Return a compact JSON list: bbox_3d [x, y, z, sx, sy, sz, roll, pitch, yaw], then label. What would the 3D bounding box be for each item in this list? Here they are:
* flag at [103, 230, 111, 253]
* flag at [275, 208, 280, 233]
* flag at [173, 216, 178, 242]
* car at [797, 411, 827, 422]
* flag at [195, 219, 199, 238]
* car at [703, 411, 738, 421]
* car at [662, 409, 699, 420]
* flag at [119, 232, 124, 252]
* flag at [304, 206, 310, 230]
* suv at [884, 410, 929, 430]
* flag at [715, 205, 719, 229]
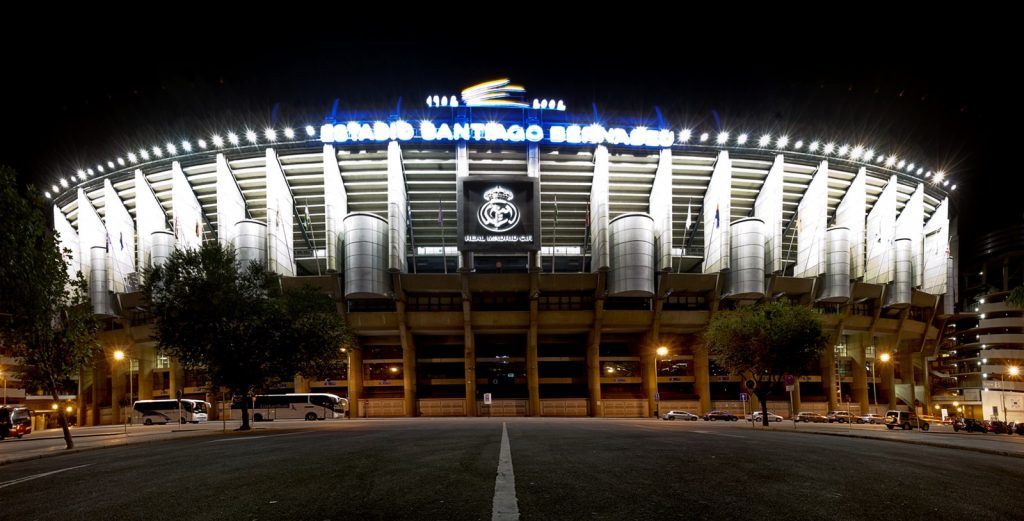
[{"bbox_3d":[-63.726,-3.043,131.738,0.930,3.085,2.918,4,-11,-26],"label":"flag"},{"bbox_3d":[-34.878,-6.041,124.619,0.438,2.654,1.384,-3,-10,11],"label":"flag"},{"bbox_3d":[-50.217,-4.964,124.717,0.514,3.745,0.711,-6,-11,25],"label":"flag"},{"bbox_3d":[46.184,24.039,128.840,4.540,1.122,1.960,-1,-6,2],"label":"car"},{"bbox_3d":[-48.189,-4.915,128.038,0.440,2.342,1.462,0,-10,-9],"label":"flag"},{"bbox_3d":[32.199,24.052,129.437,4.777,1.191,1.978,-3,-8,9],"label":"car"},{"bbox_3d":[25.886,23.661,129.077,4.794,1.295,1.984,-2,-10,6],"label":"car"},{"bbox_3d":[-61.360,-3.168,131.021,0.657,2.776,1.311,3,-11,-22],"label":"flag"},{"bbox_3d":[-31.481,-6.757,128.682,0.882,2.854,1.558,0,-10,-10],"label":"flag"},{"bbox_3d":[57.200,23.106,121.362,6.696,2.106,2.990,-2,-2,-8],"label":"suv"},{"bbox_3d":[30.894,-6.595,126.205,0.750,2.705,0.563,-4,-10,15],"label":"flag"}]
